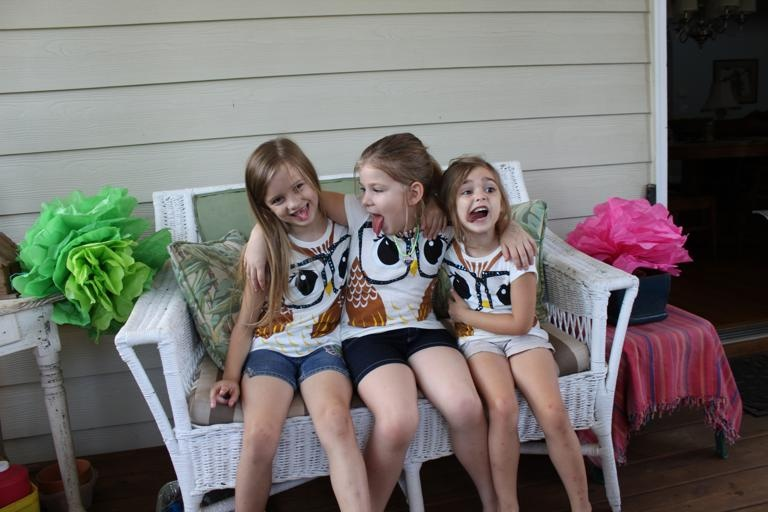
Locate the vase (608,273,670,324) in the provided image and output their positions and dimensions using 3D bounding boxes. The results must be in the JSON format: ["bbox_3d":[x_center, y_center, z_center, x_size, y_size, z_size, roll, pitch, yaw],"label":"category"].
[{"bbox_3d":[1.023,0.158,2.244,0.277,0.199,0.213,-1,5,-13],"label":"vase"}]

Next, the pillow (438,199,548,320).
[{"bbox_3d":[0.541,0.058,2.295,0.451,0.478,0.203,-1,-11,5],"label":"pillow"}]

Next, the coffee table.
[{"bbox_3d":[1.153,0.515,2.403,0.618,0.517,0.644,-6,12,-2],"label":"coffee table"}]

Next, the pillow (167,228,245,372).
[{"bbox_3d":[-0.732,0.178,2.012,0.125,0.415,0.424,-20,-18,22],"label":"pillow"}]
